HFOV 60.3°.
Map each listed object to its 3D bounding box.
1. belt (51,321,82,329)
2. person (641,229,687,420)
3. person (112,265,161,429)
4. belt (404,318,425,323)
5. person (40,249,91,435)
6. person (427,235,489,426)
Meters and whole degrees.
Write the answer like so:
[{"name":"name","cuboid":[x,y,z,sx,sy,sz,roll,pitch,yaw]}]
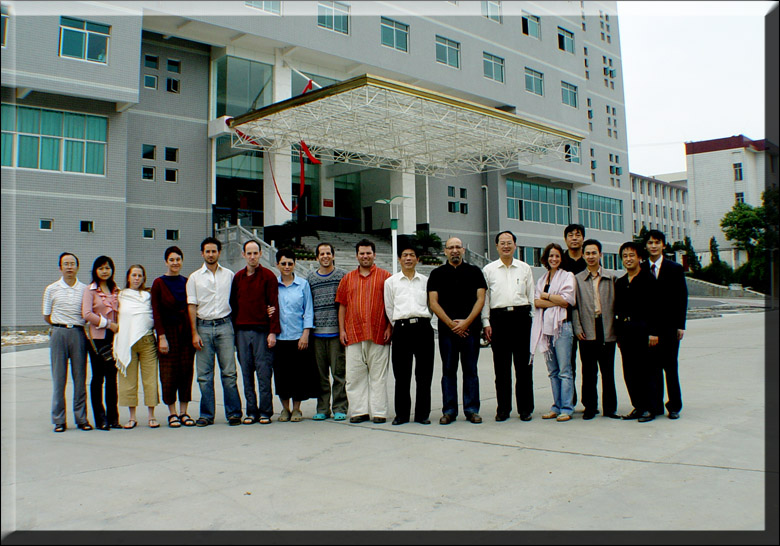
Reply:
[{"name":"belt","cuboid":[-4.439,0.729,9.213,0.402,0.097,0.106,-2,1,-1]},{"name":"person","cuboid":[3.789,0.662,9.162,0.500,2.008,0.675,-2,1,21]},{"name":"person","cuboid":[-3.551,1.013,9.369,0.567,2.365,0.578,-2,1,-22]},{"name":"belt","cuboid":[0.354,0.656,9.335,0.258,0.087,0.065,-2,1,-1]},{"name":"person","cuboid":[-4.502,0.927,9.362,0.540,2.653,0.854,-3,1,-25]},{"name":"person","cuboid":[0.958,0.775,9.361,0.838,2.311,0.598,-2,1,2]}]
